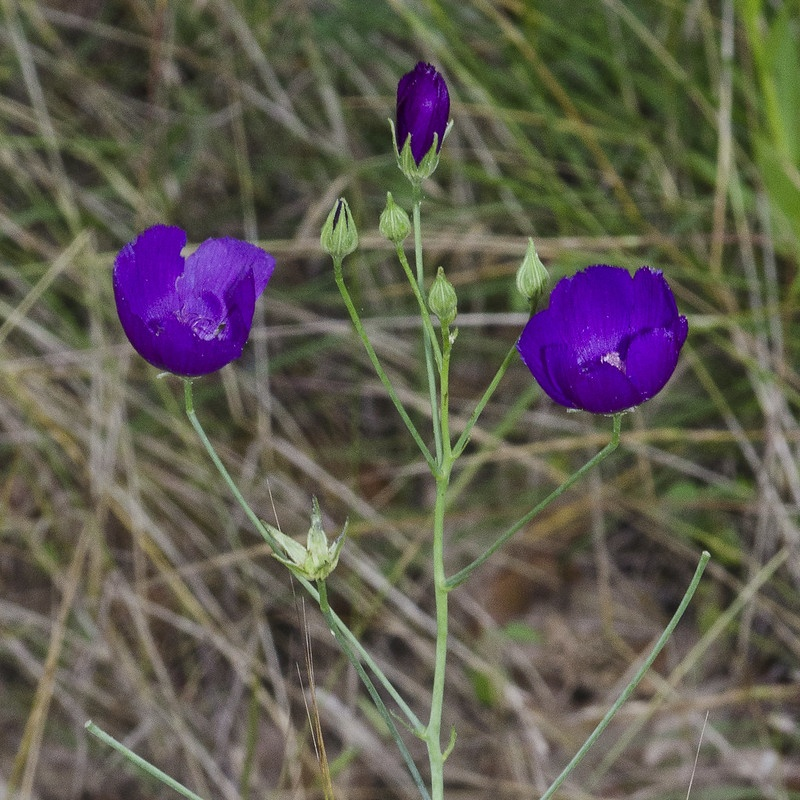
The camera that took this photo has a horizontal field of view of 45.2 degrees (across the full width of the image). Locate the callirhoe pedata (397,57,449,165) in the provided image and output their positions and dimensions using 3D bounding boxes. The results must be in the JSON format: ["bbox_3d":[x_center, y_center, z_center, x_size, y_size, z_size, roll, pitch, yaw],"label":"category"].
[{"bbox_3d":[0.040,-0.525,1.735,0.094,0.123,0.134,-5,56,1],"label":"callirhoe pedata"}]
